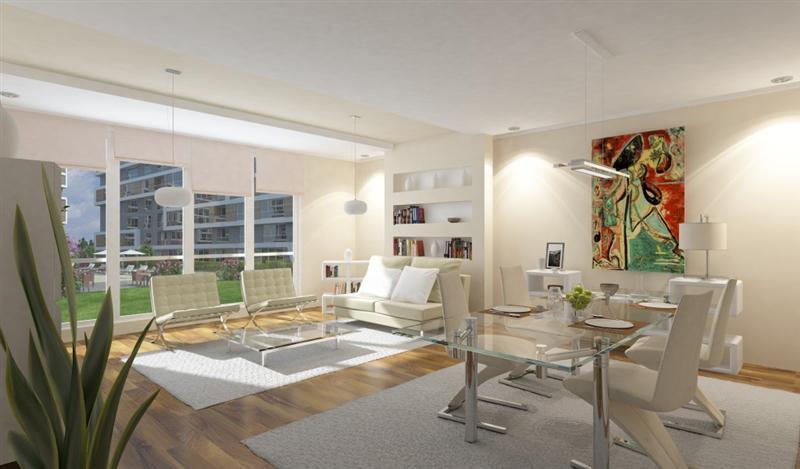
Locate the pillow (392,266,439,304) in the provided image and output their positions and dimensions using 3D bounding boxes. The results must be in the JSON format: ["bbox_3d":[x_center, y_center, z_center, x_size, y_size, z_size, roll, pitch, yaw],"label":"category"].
[{"bbox_3d":[0.257,0.879,8.190,0.744,0.613,0.219,4,-27,40],"label":"pillow"}]

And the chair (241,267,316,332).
[{"bbox_3d":[-2.197,1.119,8.452,0.870,0.823,1.097,10,6,36],"label":"chair"}]

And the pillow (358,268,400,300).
[{"bbox_3d":[-0.392,0.907,8.695,0.671,0.551,0.190,1,-27,40],"label":"pillow"}]

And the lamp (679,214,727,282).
[{"bbox_3d":[4.292,0.213,6.765,0.556,0.861,0.729,6,14,28],"label":"lamp"}]

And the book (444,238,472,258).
[{"bbox_3d":[1.105,0.270,8.921,0.443,0.357,0.186,0,-3,41],"label":"book"}]

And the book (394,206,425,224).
[{"bbox_3d":[0.202,-0.388,9.562,0.442,0.361,0.207,2,2,33],"label":"book"}]

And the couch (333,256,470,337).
[{"bbox_3d":[-0.121,1.035,8.645,2.226,0.959,1.254,2,11,40],"label":"couch"}]

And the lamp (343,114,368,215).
[{"bbox_3d":[-0.868,-1.286,9.043,0.586,1.841,0.510,0,15,-3],"label":"lamp"}]

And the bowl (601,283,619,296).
[{"bbox_3d":[2.649,0.697,5.969,0.222,0.130,0.205,1,1,0],"label":"bowl"}]

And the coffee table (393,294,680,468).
[{"bbox_3d":[1.006,1.370,4.719,1.888,0.786,1.889,-1,0,42],"label":"coffee table"}]

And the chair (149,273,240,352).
[{"bbox_3d":[-3.374,1.177,7.675,0.940,0.845,1.140,11,8,42],"label":"chair"}]
